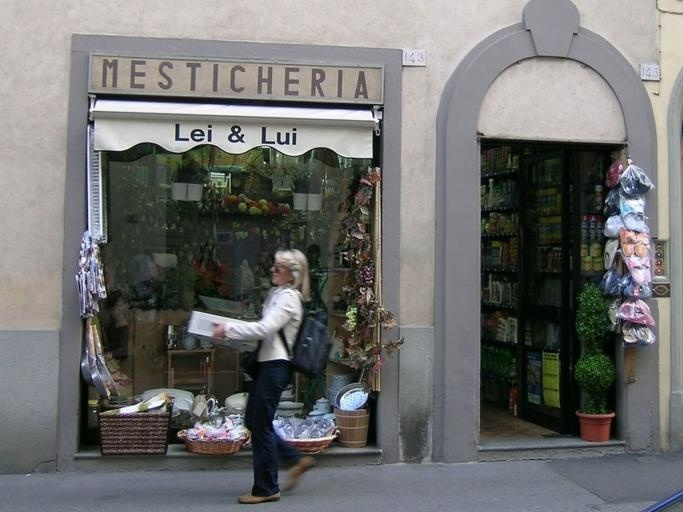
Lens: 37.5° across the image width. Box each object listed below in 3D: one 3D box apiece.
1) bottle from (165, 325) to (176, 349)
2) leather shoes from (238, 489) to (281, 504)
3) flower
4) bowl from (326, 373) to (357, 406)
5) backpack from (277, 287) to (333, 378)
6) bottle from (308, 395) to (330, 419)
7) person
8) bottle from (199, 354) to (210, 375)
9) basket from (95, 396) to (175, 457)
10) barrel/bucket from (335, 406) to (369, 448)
[{"bbox_3d":[-1.931,0.922,11.430,0.106,0.251,0.082,-1,14,-8],"label":"bottle"},{"bbox_3d":[-0.795,2.398,9.889,0.372,0.181,0.151,6,-5,-7],"label":"leather shoes"},{"bbox_3d":[0.289,0.233,11.335,0.605,2.391,0.967,-4,15,-20],"label":"flower"},{"bbox_3d":[0.007,1.548,11.598,0.307,0.338,0.323,1,-2,0],"label":"bowl"},{"bbox_3d":[-0.357,0.763,10.002,0.596,0.653,0.444,15,29,0],"label":"backpack"},{"bbox_3d":[-0.245,1.749,11.528,0.228,0.218,0.143,-2,-3,-4],"label":"bottle"},{"bbox_3d":[-0.652,1.254,9.925,0.796,2.473,0.896,13,18,40],"label":"person"},{"bbox_3d":[-1.547,1.239,11.439,0.108,0.207,0.052,-1,14,-10],"label":"bottle"},{"bbox_3d":[-2.220,1.863,10.848,0.656,0.535,0.494,1,-7,-3],"label":"basket"},{"bbox_3d":[0.115,1.935,11.361,0.444,0.436,0.490,1,1,27],"label":"barrel/bucket"}]
